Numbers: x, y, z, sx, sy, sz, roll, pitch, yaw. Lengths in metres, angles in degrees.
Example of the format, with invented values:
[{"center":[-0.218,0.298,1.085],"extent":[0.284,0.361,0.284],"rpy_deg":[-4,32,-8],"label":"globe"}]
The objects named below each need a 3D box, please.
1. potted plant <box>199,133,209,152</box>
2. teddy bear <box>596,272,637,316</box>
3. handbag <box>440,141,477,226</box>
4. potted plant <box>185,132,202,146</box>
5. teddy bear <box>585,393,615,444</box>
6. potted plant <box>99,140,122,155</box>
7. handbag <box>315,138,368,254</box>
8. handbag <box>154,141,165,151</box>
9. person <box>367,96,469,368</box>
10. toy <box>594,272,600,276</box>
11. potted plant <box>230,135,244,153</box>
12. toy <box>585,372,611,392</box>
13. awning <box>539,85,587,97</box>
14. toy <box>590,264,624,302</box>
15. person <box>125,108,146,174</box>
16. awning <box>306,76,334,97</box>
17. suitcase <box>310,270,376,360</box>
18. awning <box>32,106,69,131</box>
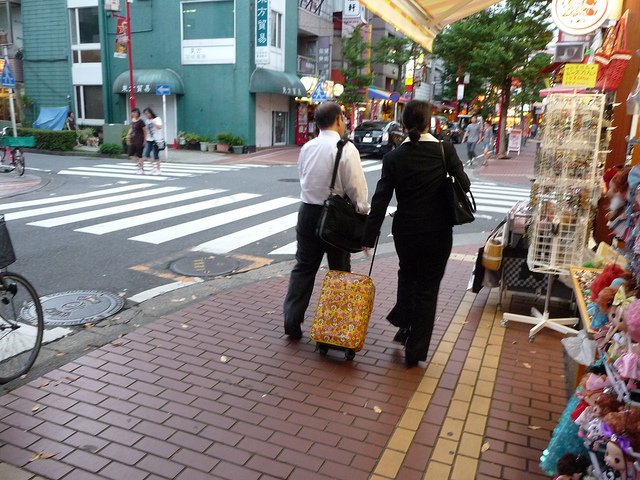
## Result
[{"center":[-6.238,-5.199,26.587],"extent":[0.436,0.703,0.667],"rpy_deg":[-3,15,-14],"label":"potted plant"},{"center":[1.695,0.284,2.793],"extent":[0.100,0.167,0.237],"rpy_deg":[47,46,4],"label":"teddy bear"},{"center":[1.250,-0.493,4.417],"extent":[0.377,0.743,0.439],"rpy_deg":[3,15,9],"label":"handbag"},{"center":[-6.976,-5.478,27.029],"extent":[0.705,0.722,0.498],"rpy_deg":[-8,-28,-3],"label":"potted plant"},{"center":[1.519,0.974,2.640],"extent":[0.113,0.272,0.294],"rpy_deg":[10,17,31],"label":"teddy bear"},{"center":[-9.527,-4.205,22.387],"extent":[0.759,0.548,0.770],"rpy_deg":[1,27,-11],"label":"potted plant"},{"center":[0.206,-0.368,4.702],"extent":[0.498,1.124,0.403],"rpy_deg":[2,15,4],"label":"handbag"},{"center":[-5.500,-3.211,16.780],"extent":[0.291,0.383,0.381],"rpy_deg":[-3,7,-10],"label":"handbag"},{"center":[0.889,-0.050,4.542],"extent":[0.827,2.380,0.417],"rpy_deg":[5,15,16],"label":"person"},{"center":[2.083,0.258,3.694],"extent":[0.039,0.037,0.009],"rpy_deg":[-4,-30,40],"label":"toy"},{"center":[-4.438,-5.088,26.183],"extent":[0.831,0.917,0.724],"rpy_deg":[-2,4,-18],"label":"potted plant"},{"center":[1.581,0.805,2.776],"extent":[0.127,0.103,0.112],"rpy_deg":[14,19,39],"label":"toy"},{"center":[2.486,-1.518,5.022],"extent":[0.429,0.096,0.527],"rpy_deg":[9,17,26],"label":"awning"},{"center":[1.794,0.283,3.032],"extent":[0.099,0.268,0.091],"rpy_deg":[32,-5,-19],"label":"toy"},{"center":[-6.259,-3.379,16.753],"extent":[0.580,2.111,1.351],"rpy_deg":[-5,16,-21],"label":"person"},{"center":[0.086,-9.829,31.645],"extent":[1.553,1.232,3.737],"rpy_deg":[3,15,6],"label":"awning"},{"center":[0.210,0.669,4.707],"extent":[0.524,0.683,0.280],"rpy_deg":[9,16,26],"label":"suitcase"},{"center":[-16.259,-7.409,29.799],"extent":[2.186,1.224,1.422],"rpy_deg":[11,18,31],"label":"awning"}]
